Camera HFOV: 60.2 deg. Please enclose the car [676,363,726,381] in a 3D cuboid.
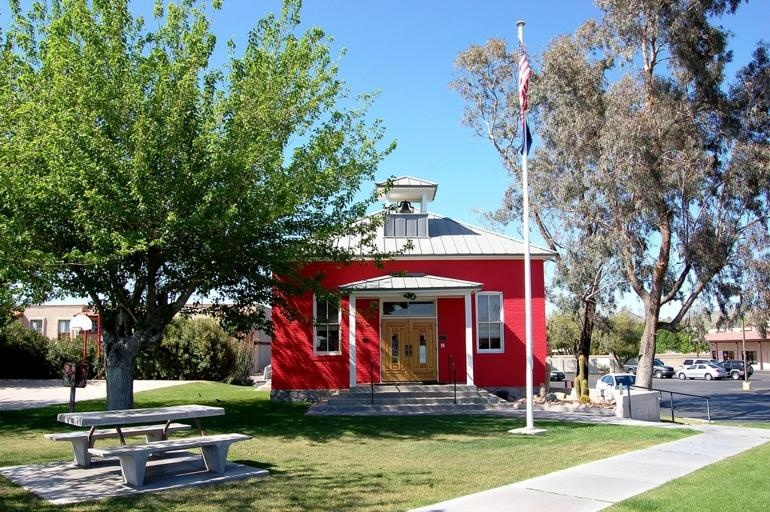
[{"bbox_3d":[28.775,10.518,60.515,3.126,1.224,1.489,-3,-7,42],"label":"car"}]
